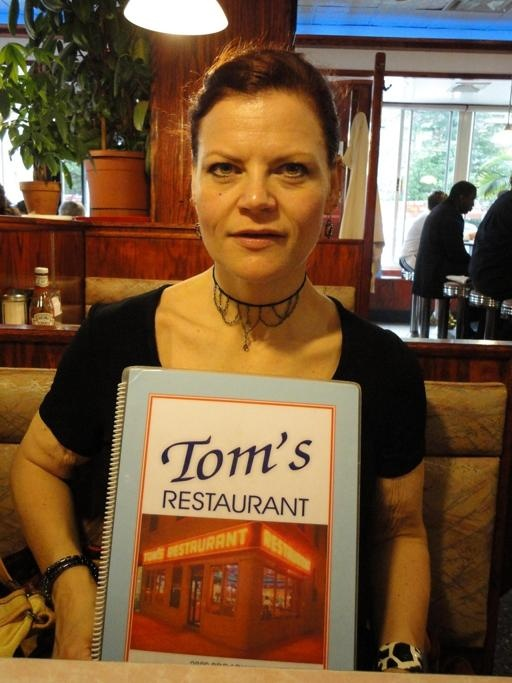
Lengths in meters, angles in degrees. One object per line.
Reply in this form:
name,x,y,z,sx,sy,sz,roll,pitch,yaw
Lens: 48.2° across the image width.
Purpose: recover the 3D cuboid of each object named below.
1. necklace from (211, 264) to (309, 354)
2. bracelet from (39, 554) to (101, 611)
necklace,0.002,-0.061,0.821,0.140,0.108,0.169,6,-7,-12
bracelet,-0.272,0.327,0.822,0.076,0.034,0.084,-5,23,1
